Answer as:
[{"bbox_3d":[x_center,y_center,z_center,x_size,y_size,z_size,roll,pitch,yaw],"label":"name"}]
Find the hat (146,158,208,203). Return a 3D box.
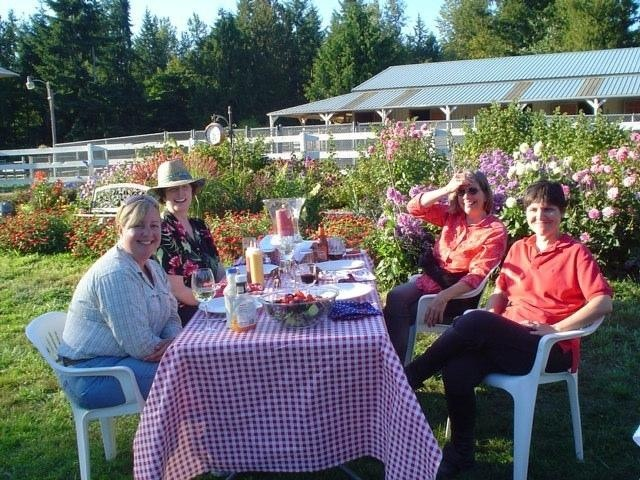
[{"bbox_3d":[-1.284,-0.509,5.165,0.319,0.200,0.425,-14,-10,-8],"label":"hat"}]

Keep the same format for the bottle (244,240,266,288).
[{"bbox_3d":[-0.487,0.192,4.293,0.131,0.481,0.150,-7,19,-18],"label":"bottle"}]

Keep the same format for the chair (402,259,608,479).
[{"bbox_3d":[1.488,1.140,4.640,1.166,2.132,1.358,4,10,22],"label":"chair"}]

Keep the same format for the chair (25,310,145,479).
[{"bbox_3d":[-1.565,1.131,4.021,0.970,1.123,0.530,6,13,29],"label":"chair"}]
